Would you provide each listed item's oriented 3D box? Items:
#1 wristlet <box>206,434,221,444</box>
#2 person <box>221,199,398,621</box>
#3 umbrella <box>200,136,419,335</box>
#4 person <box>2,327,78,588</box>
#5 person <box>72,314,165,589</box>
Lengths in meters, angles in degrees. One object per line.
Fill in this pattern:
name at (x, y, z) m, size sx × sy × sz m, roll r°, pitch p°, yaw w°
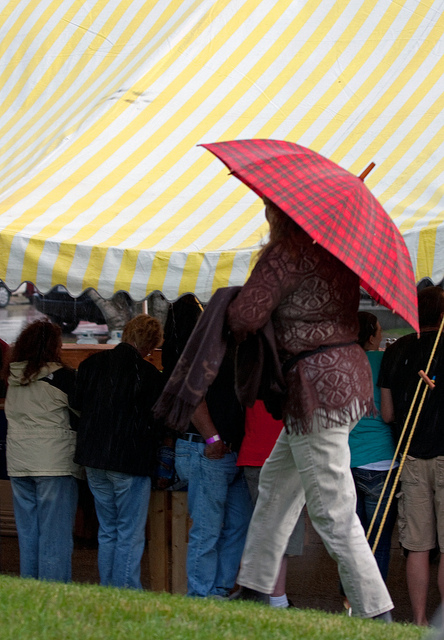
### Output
wristlet at (-0.045, 0.663, 4.768) m, size 0.066 × 0.014 × 0.068 m, roll -19°, pitch -4°, yaw 38°
person at (0.409, 0.388, 3.705) m, size 0.783 × 1.834 × 0.536 m, roll 4°, pitch -4°, yaw 9°
umbrella at (0.407, -0.426, 3.848) m, size 1.038 × 0.413 × 0.977 m, roll 37°, pitch 13°, yaw -5°
person at (-1.150, 0.835, 5.357) m, size 0.499 × 1.591 × 0.273 m, roll 5°, pitch -4°, yaw -14°
person at (-0.661, 0.796, 5.216) m, size 0.613 × 1.688 × 0.358 m, roll 5°, pitch -4°, yaw -7°
